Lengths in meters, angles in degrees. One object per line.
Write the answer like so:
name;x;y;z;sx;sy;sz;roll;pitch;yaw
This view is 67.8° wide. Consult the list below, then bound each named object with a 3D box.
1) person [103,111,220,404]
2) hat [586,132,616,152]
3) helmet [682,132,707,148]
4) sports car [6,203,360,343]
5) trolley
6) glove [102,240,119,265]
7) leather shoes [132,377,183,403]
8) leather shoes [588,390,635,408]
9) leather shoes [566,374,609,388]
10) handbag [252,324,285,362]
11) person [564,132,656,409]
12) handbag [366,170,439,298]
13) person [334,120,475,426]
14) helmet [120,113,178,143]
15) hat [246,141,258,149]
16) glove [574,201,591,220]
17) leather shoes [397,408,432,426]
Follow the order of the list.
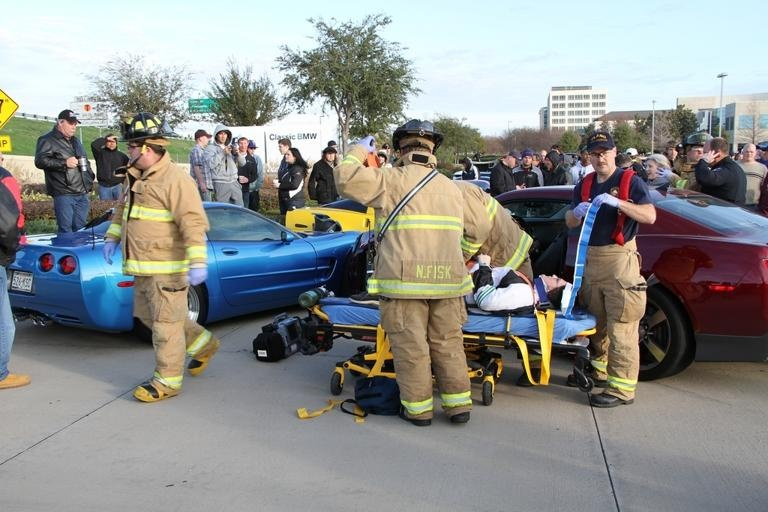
person;-2.114;-0.006;5.506;0.799;2.644;0.872;-7;15;-23
hat;2.005;-1.064;5.296;0.169;0.129;0.248;-5;1;27
helmet;4.459;-1.663;8.148;0.295;0.231;0.226;1;0;5
sports car;-2.153;-0.198;7.223;1.852;0.985;3.632;7;12;37
trolley;0.616;0.773;5.532;2.190;0.748;1.245;1;5;17
glove;-2.844;-0.034;5.880;0.079;0.223;0.163;15;-18;-38
leather shoes;-2.156;1.250;5.405;0.427;0.184;0.222;4;2;-23
leather shoes;2.095;1.302;5.229;0.348;0.159;0.161;3;-1;2
leather shoes;1.984;1.231;5.584;0.374;0.160;0.174;-2;8;19
handbag;-1.263;0.936;6.374;0.359;0.377;0.394;-1;7;7
person;2.070;0.102;5.397;0.771;2.523;0.972;0;-1;-14
handbag;0.158;-0.227;4.987;0.697;1.013;0.306;-4;14;-14
person;0.240;0.171;5.209;1.474;2.638;0.892;-1;0;-23
helmet;-2.291;-1.202;5.503;0.422;0.184;0.329;-2;20;-10
hat;-2.953;-2.466;12.596;0.189;0.106;0.289;3;25;-37
glove;1.816;-0.422;5.267;0.108;0.158;0.184;-2;14;-6
leather shoes;0.271;1.438;5.076;0.112;0.132;0.307;-9;17;-32
